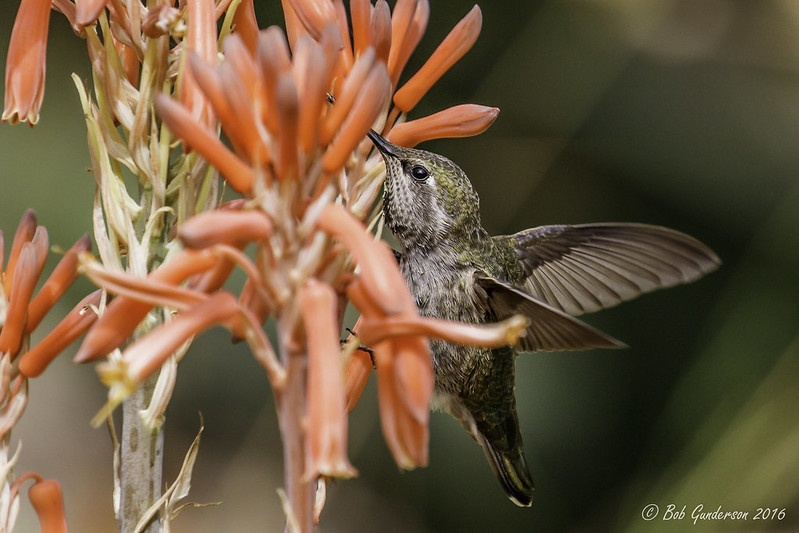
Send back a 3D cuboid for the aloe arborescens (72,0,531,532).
[{"bbox_3d":[-0.315,-0.053,2.547,0.915,1.047,0.997,2,36,-25],"label":"aloe arborescens"}]
